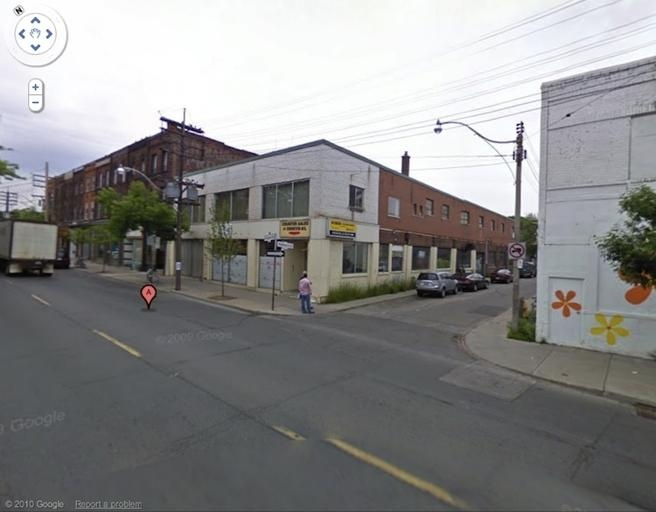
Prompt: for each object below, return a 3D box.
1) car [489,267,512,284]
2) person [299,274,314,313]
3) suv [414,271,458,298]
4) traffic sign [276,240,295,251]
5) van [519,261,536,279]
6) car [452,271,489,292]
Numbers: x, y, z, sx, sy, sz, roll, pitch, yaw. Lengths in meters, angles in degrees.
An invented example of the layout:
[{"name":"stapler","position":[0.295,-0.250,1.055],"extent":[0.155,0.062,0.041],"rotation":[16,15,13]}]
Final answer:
[{"name":"car","position":[13.239,1.460,38.435],"extent":[0.897,0.740,2.034],"rotation":[3,6,40]},{"name":"person","position":[-0.791,1.347,19.272],"extent":[0.543,1.744,1.053],"rotation":[2,14,-2]},{"name":"suv","position":[5.710,1.434,26.560],"extent":[1.054,0.984,2.386],"rotation":[1,5,36]},{"name":"traffic sign","position":[-1.773,-0.430,19.903],"extent":[0.612,0.251,0.633],"rotation":[6,3,38]},{"name":"van","position":[16.915,1.190,43.181],"extent":[1.040,1.028,1.960],"rotation":[2,13,38]},{"name":"car","position":[8.702,1.504,30.710],"extent":[1.042,0.836,2.311],"rotation":[2,5,42]}]
